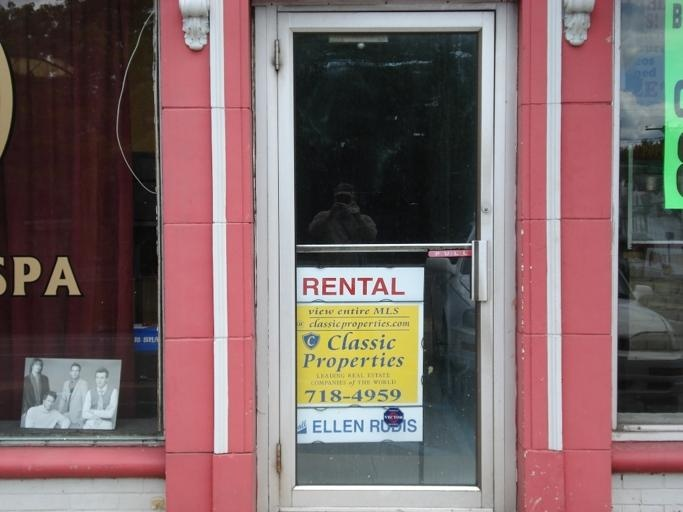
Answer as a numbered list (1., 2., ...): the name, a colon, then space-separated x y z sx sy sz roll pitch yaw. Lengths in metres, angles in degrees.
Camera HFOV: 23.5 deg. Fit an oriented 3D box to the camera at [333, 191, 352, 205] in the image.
1. camera: 0.012 -0.402 10.962 0.083 0.063 0.087 2 2 -8
